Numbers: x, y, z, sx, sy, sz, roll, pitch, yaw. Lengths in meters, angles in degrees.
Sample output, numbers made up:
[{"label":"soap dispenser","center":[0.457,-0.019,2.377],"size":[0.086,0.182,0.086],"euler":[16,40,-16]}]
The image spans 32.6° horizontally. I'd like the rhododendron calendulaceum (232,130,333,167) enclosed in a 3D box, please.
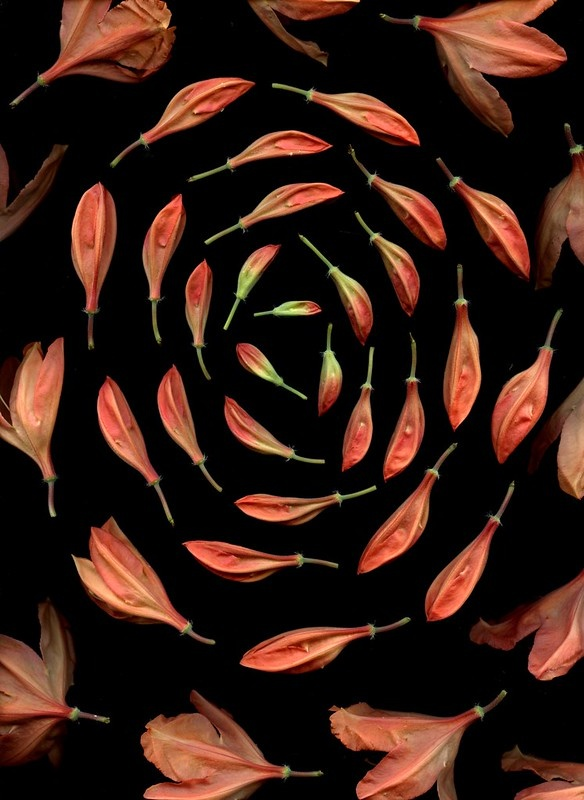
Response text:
[{"label":"rhododendron calendulaceum","center":[-0.011,-0.371,1.494],"size":[0.107,0.030,0.035],"euler":[-9,4,-5]}]
